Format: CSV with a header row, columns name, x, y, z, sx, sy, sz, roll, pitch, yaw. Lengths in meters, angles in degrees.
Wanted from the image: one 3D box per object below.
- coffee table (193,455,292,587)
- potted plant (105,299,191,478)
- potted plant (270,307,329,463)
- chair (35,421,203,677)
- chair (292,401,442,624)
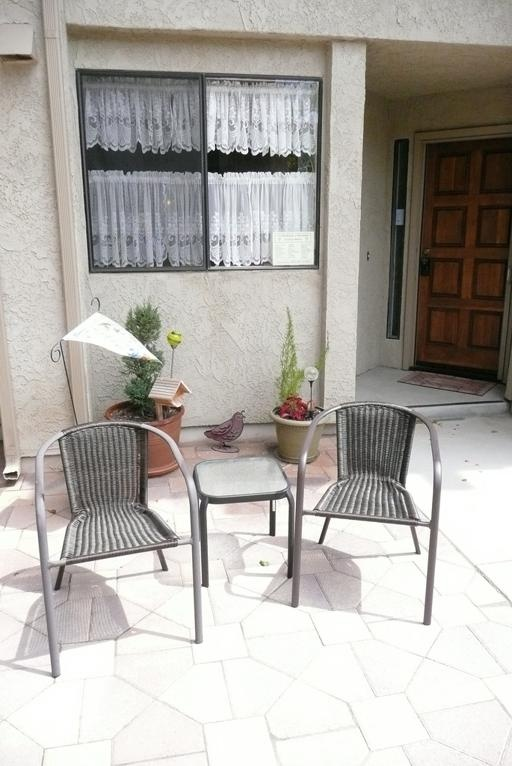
name,x,y,z,sx,sy,sz,roll,pitch,yaw
coffee table,-0.051,0.593,2.417,0.420,0.439,0.507,-2,11,-7
potted plant,-0.768,0.011,3.628,0.463,1.061,0.484,-1,-3,10
potted plant,0.264,0.048,3.811,0.339,0.927,0.335,4,6,-21
chair,-0.510,0.529,2.089,0.545,0.689,0.616,-5,12,-21
chair,0.481,0.486,2.312,0.547,0.725,0.553,4,13,21
